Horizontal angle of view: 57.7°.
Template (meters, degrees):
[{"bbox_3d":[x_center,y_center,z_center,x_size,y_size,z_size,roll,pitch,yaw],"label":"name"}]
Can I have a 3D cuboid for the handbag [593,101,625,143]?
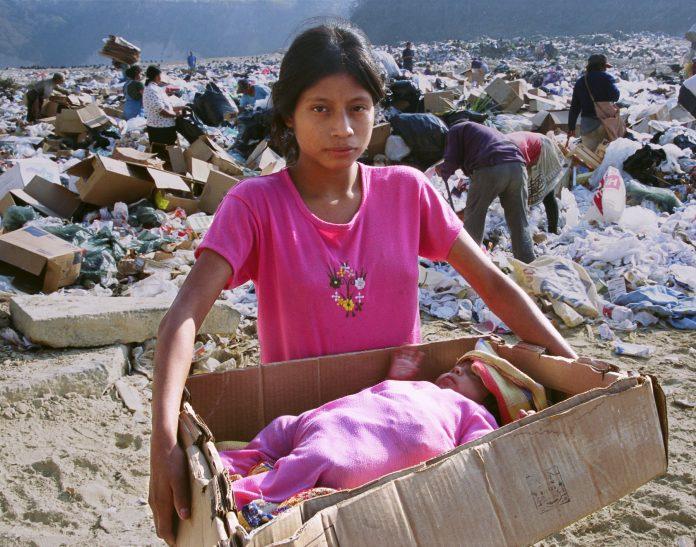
[{"bbox_3d":[3.485,-1.985,8.264,0.514,0.462,0.282,-5,24,-14],"label":"handbag"}]

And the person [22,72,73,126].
[{"bbox_3d":[-5.575,-3.193,11.659,0.749,1.074,0.475,12,28,-36],"label":"person"}]

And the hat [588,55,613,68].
[{"bbox_3d":[3.298,-2.760,8.263,0.217,0.267,0.271,2,22,12],"label":"hat"}]

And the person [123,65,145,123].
[{"bbox_3d":[-3.251,-2.703,9.555,0.326,0.834,0.873,-6,25,-17],"label":"person"}]
